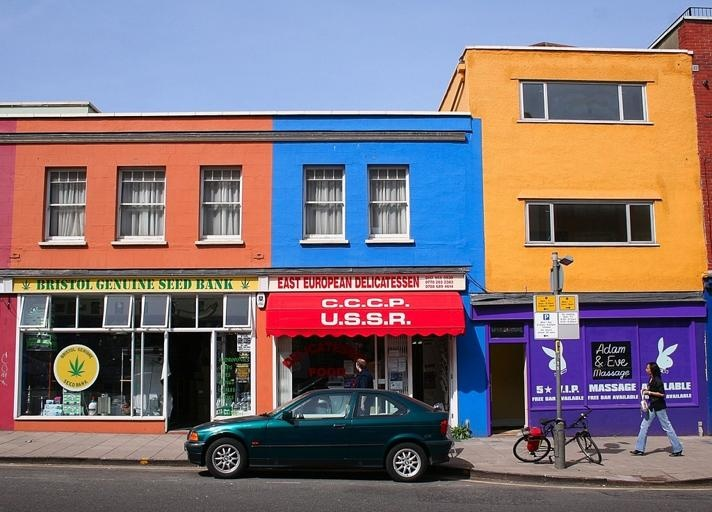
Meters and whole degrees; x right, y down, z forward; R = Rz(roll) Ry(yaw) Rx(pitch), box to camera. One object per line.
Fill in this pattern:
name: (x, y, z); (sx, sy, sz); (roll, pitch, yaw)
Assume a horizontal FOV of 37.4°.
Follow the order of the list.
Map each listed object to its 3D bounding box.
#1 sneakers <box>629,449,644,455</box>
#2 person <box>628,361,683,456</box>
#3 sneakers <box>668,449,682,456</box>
sneakers: (7.122, 5.008, 26.817); (0.355, 0.132, 0.114); (4, -7, 15)
person: (7.632, 3.946, 27.020); (1.099, 2.393, 1.238); (-7, -11, 25)
sneakers: (8.148, 5.050, 26.849); (0.363, 0.132, 0.120); (4, -7, -7)
